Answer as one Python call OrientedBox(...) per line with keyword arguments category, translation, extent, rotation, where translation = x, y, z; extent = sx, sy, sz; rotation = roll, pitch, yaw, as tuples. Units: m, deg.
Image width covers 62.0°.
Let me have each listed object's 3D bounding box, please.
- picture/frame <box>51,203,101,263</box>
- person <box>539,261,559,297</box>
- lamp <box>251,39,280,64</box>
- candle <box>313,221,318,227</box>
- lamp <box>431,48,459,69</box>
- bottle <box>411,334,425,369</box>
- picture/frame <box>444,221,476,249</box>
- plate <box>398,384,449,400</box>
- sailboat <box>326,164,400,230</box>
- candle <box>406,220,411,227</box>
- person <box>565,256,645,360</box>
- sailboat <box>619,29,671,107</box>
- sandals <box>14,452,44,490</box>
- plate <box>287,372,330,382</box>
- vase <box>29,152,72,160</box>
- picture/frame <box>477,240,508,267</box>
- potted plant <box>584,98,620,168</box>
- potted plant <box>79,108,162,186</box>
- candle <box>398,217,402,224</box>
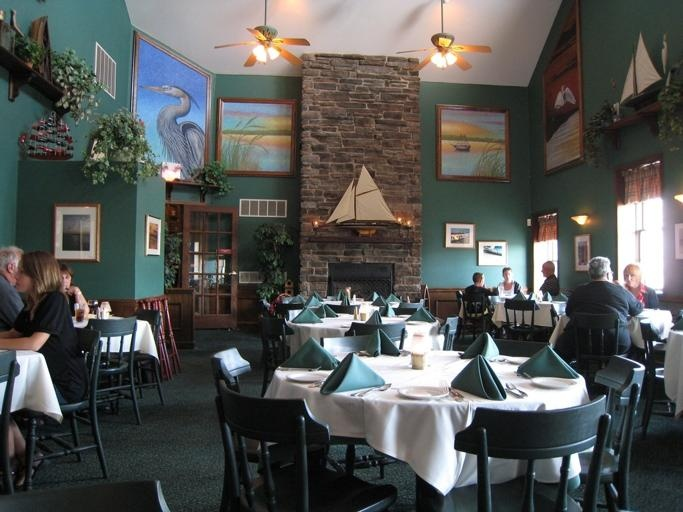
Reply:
OrientedBox(category="picture/frame", translation=(-3.026, -0.278, 6.446), extent=(0.634, 0.848, 0.085), rotation=(0, -1, -9))
OrientedBox(category="person", translation=(3.273, 0.360, 8.948), extent=(0.266, 0.840, 0.501), rotation=(1, 0, 22))
OrientedBox(category="lamp", translation=(-1.072, -2.828, 7.932), extent=(0.339, 0.259, 0.455), rotation=(0, -2, -20))
OrientedBox(category="candle", translation=(-0.460, -0.574, 10.390), extent=(0.102, 0.098, 0.035), rotation=(0, -2, -12))
OrientedBox(category="lamp", translation=(1.392, -2.648, 7.729), extent=(0.372, 0.199, 0.390), rotation=(0, -2, 9))
OrientedBox(category="bottle", translation=(0.497, 0.613, 3.666), extent=(0.086, 0.220, 0.070), rotation=(0, -2, 9))
OrientedBox(category="picture/frame", translation=(2.313, -0.397, 11.269), extent=(0.502, 0.444, 0.038), rotation=(2, -5, -7))
OrientedBox(category="plate", translation=(0.467, 0.771, 3.230), extent=(0.290, 0.047, 0.180), rotation=(-1, -2, 9))
OrientedBox(category="sailboat", translation=(0.321, -1.059, 10.342), extent=(1.138, 1.030, 0.187), rotation=(0, -5, -1))
OrientedBox(category="candle", translation=(1.246, -0.589, 10.557), extent=(0.061, 0.142, 0.166), rotation=(-1, -2, 26))
OrientedBox(category="person", translation=(2.590, 0.598, 5.708), extent=(0.649, 1.124, 0.527), rotation=(1, 9, 27))
OrientedBox(category="sailboat", translation=(4.073, -2.586, 7.733), extent=(0.330, 1.017, 0.872), rotation=(0, -2, 0))
OrientedBox(category="sandals", translation=(-2.188, 1.477, 3.966), extent=(0.210, 0.217, 0.072), rotation=(2, -1, -20))
OrientedBox(category="plate", translation=(-0.203, 0.738, 3.471), extent=(0.250, 0.028, 0.205), rotation=(0, -2, -1))
OrientedBox(category="vase", translation=(-3.360, -1.159, 6.604), extent=(0.476, 0.123, 0.182), rotation=(-1, -2, 17))
OrientedBox(category="picture/frame", translation=(2.971, -0.036, 11.313), extent=(0.491, 0.438, 0.033), rotation=(1, -4, -4))
OrientedBox(category="potted plant", translation=(3.937, -1.853, 8.568), extent=(0.400, 0.945, 0.882), rotation=(0, -2, -11))
OrientedBox(category="potted plant", translation=(-2.595, -1.164, 6.757), extent=(1.018, 1.006, 0.781), rotation=(1, 0, -38))
OrientedBox(category="candle", translation=(1.061, -0.646, 10.425), extent=(0.082, 0.084, 0.154), rotation=(4, -38, 11))
